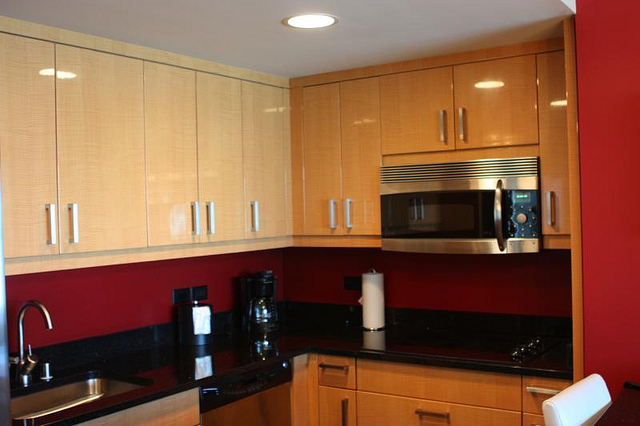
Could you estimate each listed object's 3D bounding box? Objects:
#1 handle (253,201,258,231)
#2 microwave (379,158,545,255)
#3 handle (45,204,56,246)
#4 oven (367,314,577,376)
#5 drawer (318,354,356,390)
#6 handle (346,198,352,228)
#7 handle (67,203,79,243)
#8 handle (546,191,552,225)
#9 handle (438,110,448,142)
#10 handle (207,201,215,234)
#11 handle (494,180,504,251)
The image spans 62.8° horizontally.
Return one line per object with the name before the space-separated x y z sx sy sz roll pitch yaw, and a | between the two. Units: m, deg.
handle | -0.461 0.021 3.725 0.031 0.204 0.022 -3 2 -8
microwave | 1.019 -0.060 3.665 1.070 0.590 0.617 0 7 35
handle | -1.445 0.061 2.810 0.046 0.144 0.036 -3 2 -30
oven | 1.042 0.742 3.399 1.106 0.291 0.731 -1 2 23
drawer | 0.113 1.017 3.465 0.213 0.219 0.263 5 10 39
handle | 0.206 -0.001 3.770 0.043 0.207 0.014 -3 2 -13
handle | -1.360 0.055 2.882 0.049 0.214 0.034 -3 2 -25
handle | 1.414 -0.034 3.232 0.031 0.204 0.023 -2 2 11
handle | 0.819 -0.581 3.497 0.056 0.209 0.027 -2 2 13
handle | -0.726 0.028 3.472 0.038 0.216 0.045 -2 2 2
handle | 1.107 0.016 3.239 0.048 0.441 0.115 -2 2 18
